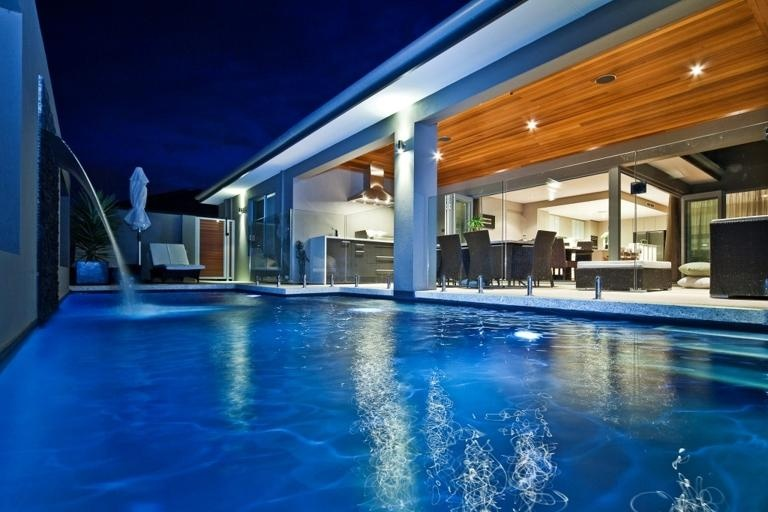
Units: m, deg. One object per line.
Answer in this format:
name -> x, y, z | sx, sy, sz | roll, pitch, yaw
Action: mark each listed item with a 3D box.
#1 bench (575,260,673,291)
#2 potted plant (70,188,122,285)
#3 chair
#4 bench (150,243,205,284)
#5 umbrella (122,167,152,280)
bench -> 3.461, 0.238, 7.569 | 1.396, 0.448, 1.487 | 9, 6, 39
potted plant -> -6.199, -0.440, 10.493 | 0.851, 2.024, 1.441 | -1, 2, -28
chair -> 2.219, 0.053, 9.018 | 1.733, 1.057, 3.059 | 1, 2, 40
bench -> -5.269, 0.146, 12.281 | 1.055, 1.019, 1.376 | 1, -2, -42
umbrella -> -4.382, -0.644, 8.588 | 0.554, 1.937, 0.561 | 22, 26, 21
